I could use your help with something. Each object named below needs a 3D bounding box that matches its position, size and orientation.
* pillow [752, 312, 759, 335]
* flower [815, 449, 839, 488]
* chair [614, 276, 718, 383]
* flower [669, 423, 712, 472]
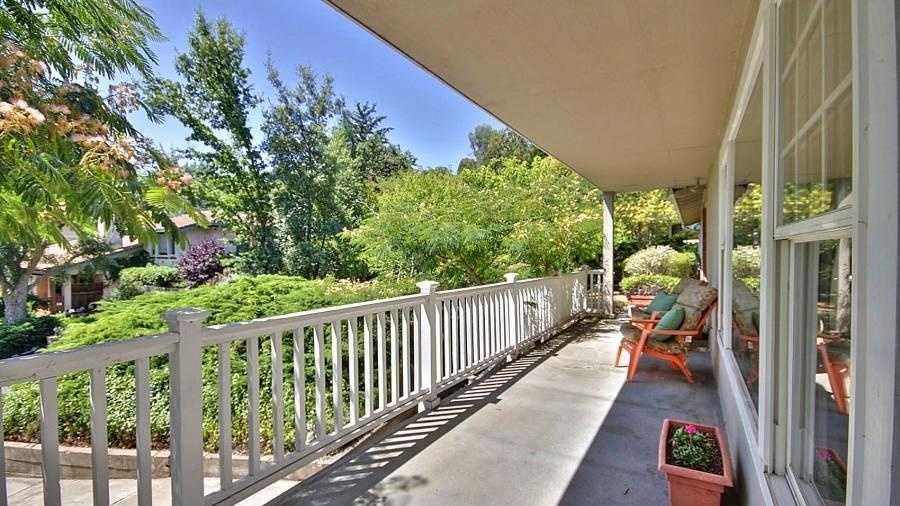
[{"bbox_3d":[2.601,0.583,4.842,0.040,0.127,0.196,-3,-5,24],"label":"pillow"},{"bbox_3d":[2.627,1.511,4.008,0.108,0.189,0.152,-6,13,11],"label":"flower"},{"bbox_3d":[2.770,1.060,7.308,1.226,1.192,0.811,-5,0,-4],"label":"chair"},{"bbox_3d":[2.158,1.742,5.073,0.388,0.266,0.371,-7,11,-7],"label":"flower"}]
